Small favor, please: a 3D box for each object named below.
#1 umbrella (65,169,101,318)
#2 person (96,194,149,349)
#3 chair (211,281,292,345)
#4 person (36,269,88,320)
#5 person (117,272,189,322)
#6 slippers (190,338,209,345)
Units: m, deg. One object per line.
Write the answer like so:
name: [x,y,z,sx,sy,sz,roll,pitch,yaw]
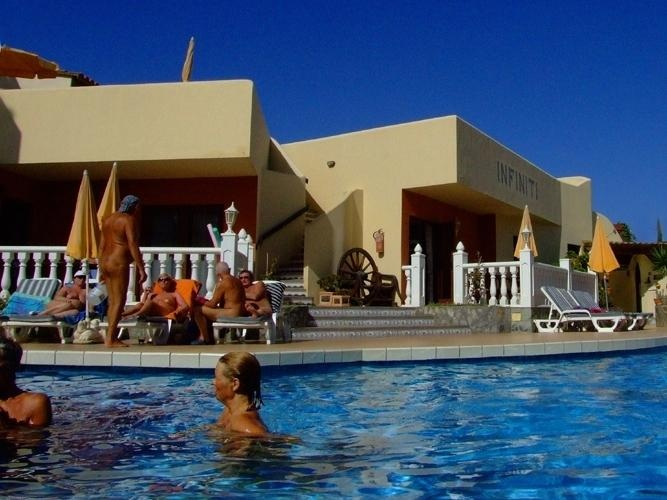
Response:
umbrella: [-4.076,-0.149,9.382,0.468,2.442,1.426,2,0,-24]
person: [-3.023,0.271,8.216,0.692,2.199,0.505,2,0,41]
chair: [-1.346,0.967,9.219,0.779,0.836,1.218,-3,-10,16]
person: [-4.309,0.775,9.339,0.380,0.567,1.034,10,10,0]
person: [-2.659,0.742,8.882,0.606,0.502,0.845,2,-11,11]
slippers: [-2.073,1.416,8.948,0.270,0.122,0.104,5,-7,9]
